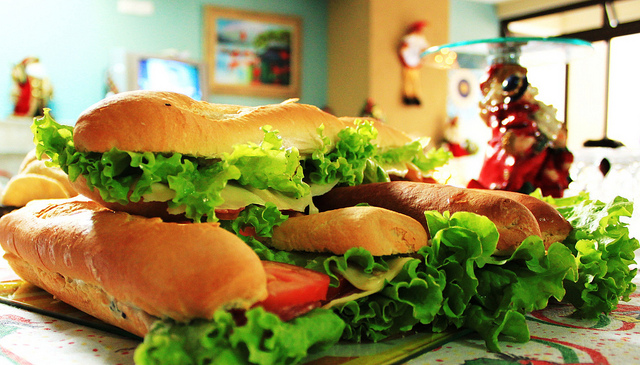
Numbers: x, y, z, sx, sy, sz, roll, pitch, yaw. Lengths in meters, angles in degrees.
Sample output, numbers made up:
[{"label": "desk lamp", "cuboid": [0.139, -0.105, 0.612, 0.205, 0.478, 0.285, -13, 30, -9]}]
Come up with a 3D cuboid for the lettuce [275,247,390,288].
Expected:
[{"label": "lettuce", "cuboid": [0.013, 0.144, 1.006, 0.261, 0.050, 0.140, -10, 8, -10]}]

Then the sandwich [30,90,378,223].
[{"label": "sandwich", "cuboid": [-0.259, -0.064, 1.161, 0.735, 0.194, 0.458, -2, 7, -25]}]

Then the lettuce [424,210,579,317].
[{"label": "lettuce", "cuboid": [0.400, 0.214, 1.046, 0.267, 0.117, 0.384, 11, -14, 6]}]

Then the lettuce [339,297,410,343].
[{"label": "lettuce", "cuboid": [0.104, 0.262, 0.938, 0.136, 0.065, 0.093, -2, -5, 2]}]

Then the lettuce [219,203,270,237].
[{"label": "lettuce", "cuboid": [-0.158, 0.080, 1.043, 0.083, 0.034, 0.081, -5, 22, 37]}]

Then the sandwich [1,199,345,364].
[{"label": "sandwich", "cuboid": [-0.258, 0.089, 0.910, 0.390, 0.383, 0.377, -8, 16, -37]}]

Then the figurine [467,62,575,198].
[{"label": "figurine", "cuboid": [0.631, -0.132, 1.522, 0.258, 0.469, 0.263, 2, 3, 27]}]

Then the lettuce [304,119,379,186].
[{"label": "lettuce", "cuboid": [0.047, -0.056, 1.230, 0.162, 0.228, 0.088, 13, -2, -16]}]

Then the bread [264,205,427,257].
[{"label": "bread", "cuboid": [0.048, 0.100, 1.064, 0.207, 0.089, 0.352, -7, 1, -39]}]
